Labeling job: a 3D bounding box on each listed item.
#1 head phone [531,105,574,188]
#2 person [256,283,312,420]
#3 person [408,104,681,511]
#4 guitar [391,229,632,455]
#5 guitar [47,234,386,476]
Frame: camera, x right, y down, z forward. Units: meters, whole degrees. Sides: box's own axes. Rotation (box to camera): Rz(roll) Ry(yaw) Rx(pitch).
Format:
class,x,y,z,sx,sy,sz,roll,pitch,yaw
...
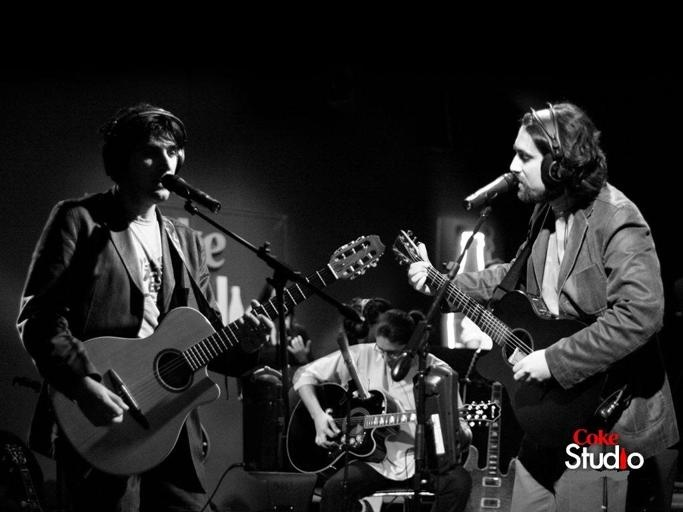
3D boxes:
class,x,y,z,sx,sy,sz,roll,pitch,yaw
head phone,1.171,-0.578,3.780,0.123,0.369,0.372,-11,4,4
person,-0.427,0.839,6.634,0.438,1.119,0.140,-1,-3,-38
person,1.311,0.268,3.833,0.977,2.265,0.608,-3,-9,13
guitar,0.957,0.461,3.876,0.566,1.262,0.177,-44,-22,8
guitar,-0.680,0.504,4.115,2.064,0.830,0.222,-33,-4,-10
